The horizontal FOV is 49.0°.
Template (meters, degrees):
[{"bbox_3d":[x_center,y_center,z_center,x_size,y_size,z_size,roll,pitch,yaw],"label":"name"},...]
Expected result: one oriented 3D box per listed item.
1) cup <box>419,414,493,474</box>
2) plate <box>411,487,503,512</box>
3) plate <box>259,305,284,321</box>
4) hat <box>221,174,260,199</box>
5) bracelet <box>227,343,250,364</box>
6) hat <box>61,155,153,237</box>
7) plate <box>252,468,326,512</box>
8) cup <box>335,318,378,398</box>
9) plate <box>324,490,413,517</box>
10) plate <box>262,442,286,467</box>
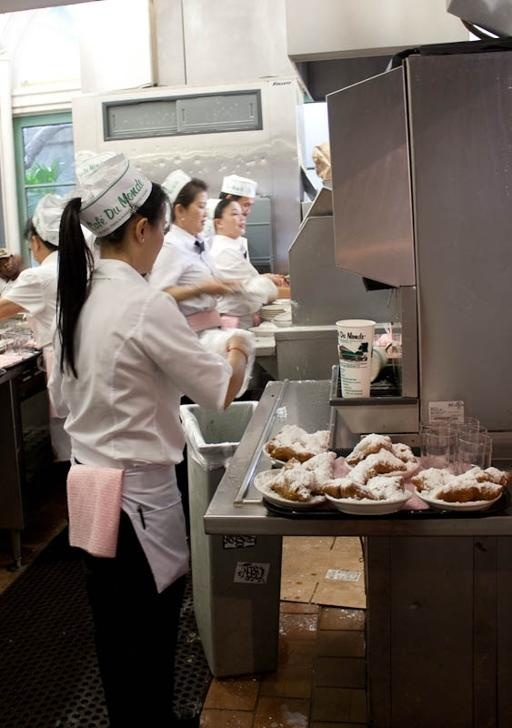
[{"bbox_3d":[0.358,0.135,1.021,0.098,0.061,0.099,-1,6,0],"label":"cup"},{"bbox_3d":[0.292,0.206,0.842,0.122,0.020,0.050,1,8,32],"label":"plate"},{"bbox_3d":[0.110,-0.350,3.785,0.148,0.062,0.149,-2,10,1],"label":"plate"},{"bbox_3d":[-0.135,-1.373,4.470,0.235,0.138,0.236,11,16,1],"label":"hat"},{"bbox_3d":[-0.039,-0.027,1.282,0.036,0.040,0.042,-2,-2,18],"label":"bracelet"},{"bbox_3d":[-0.285,-0.340,1.131,0.146,0.166,0.140,-4,7,1],"label":"hat"},{"bbox_3d":[0.042,0.206,0.921,0.080,0.032,0.177,-7,8,-24],"label":"plate"},{"bbox_3d":[0.204,-0.010,1.144,0.069,0.159,0.116,-3,7,8],"label":"cup"},{"bbox_3d":[0.167,0.207,0.834,0.122,0.031,0.058,-3,7,4],"label":"plate"},{"bbox_3d":[0.035,0.175,1.083,0.030,0.043,0.098,-5,7,-8],"label":"plate"}]
